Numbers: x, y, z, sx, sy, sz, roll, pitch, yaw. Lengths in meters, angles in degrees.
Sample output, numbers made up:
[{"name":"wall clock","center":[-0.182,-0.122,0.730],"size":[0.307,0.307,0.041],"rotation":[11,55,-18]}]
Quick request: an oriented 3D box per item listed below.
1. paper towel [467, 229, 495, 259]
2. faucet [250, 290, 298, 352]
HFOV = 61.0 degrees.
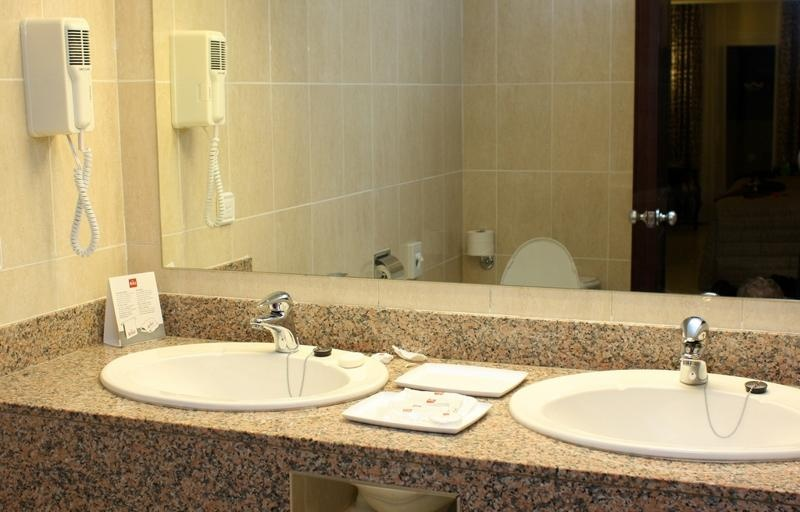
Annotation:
[{"name":"paper towel","center":[0.244,-0.038,2.052],"size":[0.080,0.092,0.079],"rotation":[3,5,37]},{"name":"faucet","center":[-0.364,0.206,2.060],"size":[0.105,0.225,0.204],"rotation":[0,-1,30]}]
